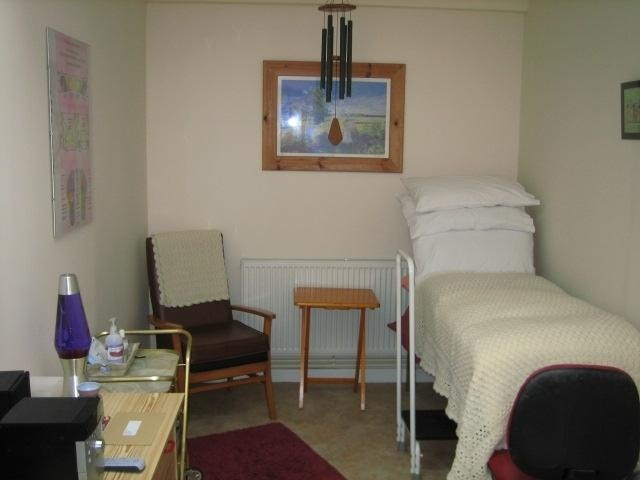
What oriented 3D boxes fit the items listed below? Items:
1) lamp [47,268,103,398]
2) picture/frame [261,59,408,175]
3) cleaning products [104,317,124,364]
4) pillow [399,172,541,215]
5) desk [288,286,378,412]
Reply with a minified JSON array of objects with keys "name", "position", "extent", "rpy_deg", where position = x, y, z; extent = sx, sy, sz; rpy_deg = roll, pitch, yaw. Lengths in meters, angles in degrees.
[{"name":"lamp","position":[-1.051,0.390,2.274],"extent":[0.145,0.510,0.148],"rpy_deg":[11,15,39]},{"name":"picture/frame","position":[0.088,-1.039,4.326],"extent":[0.831,0.690,0.034],"rpy_deg":[1,4,-1]},{"name":"cleaning products","position":[-1.003,0.470,2.609],"extent":[0.088,0.224,0.161],"rpy_deg":[-3,12,-20]},{"name":"pillow","position":[1.092,-0.347,3.935],"extent":[0.578,0.107,0.439],"rpy_deg":[-2,29,-4]},{"name":"desk","position":[0.121,0.835,4.282],"extent":[0.680,0.861,0.573],"rpy_deg":[1,11,0]}]
